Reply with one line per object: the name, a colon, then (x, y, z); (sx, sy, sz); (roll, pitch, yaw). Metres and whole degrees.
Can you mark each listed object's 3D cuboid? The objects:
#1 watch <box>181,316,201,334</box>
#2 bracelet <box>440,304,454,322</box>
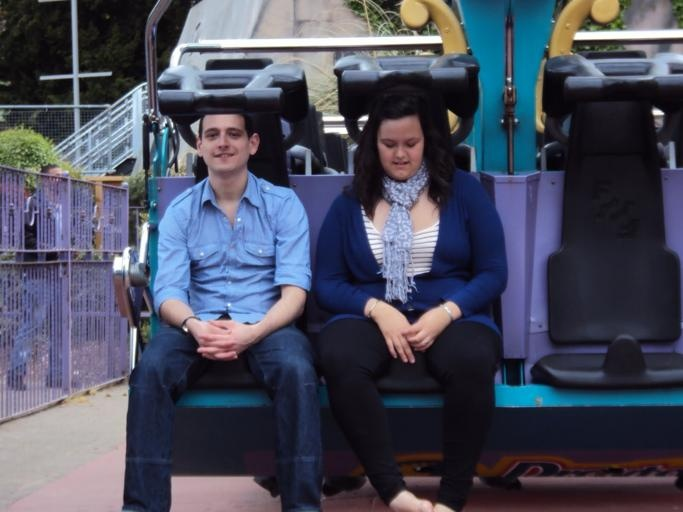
watch: (-0.669, 0.303, 3.474); (0.062, 0.078, 0.091); (-2, 2, -32)
bracelet: (0.461, 0.253, 3.449); (0.016, 0.061, 0.061); (-14, -5, -10)
